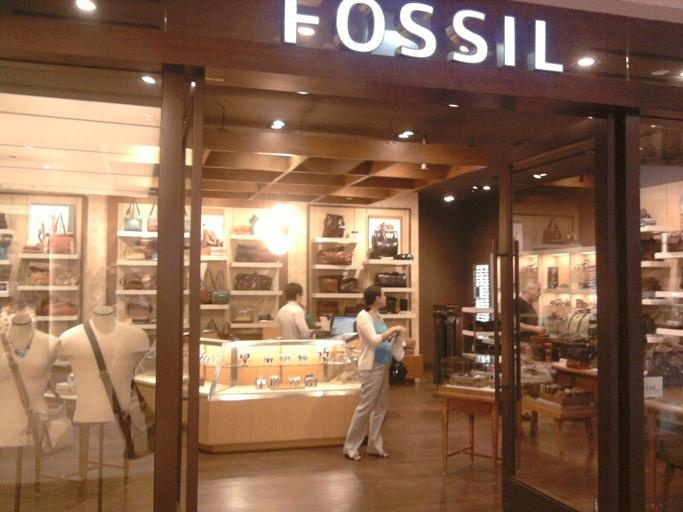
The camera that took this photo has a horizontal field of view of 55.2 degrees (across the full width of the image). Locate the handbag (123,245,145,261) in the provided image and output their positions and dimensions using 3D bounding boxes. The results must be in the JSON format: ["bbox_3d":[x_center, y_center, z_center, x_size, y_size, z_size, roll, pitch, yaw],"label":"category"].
[{"bbox_3d":[-1.100,-0.012,3.495,0.080,0.088,0.028,-3,-5,-6],"label":"handbag"}]

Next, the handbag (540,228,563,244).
[{"bbox_3d":[1.450,-0.135,4.502,0.106,0.107,0.039,2,3,43],"label":"handbag"}]

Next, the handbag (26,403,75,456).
[{"bbox_3d":[-1.534,0.918,3.470,0.252,0.268,0.211,-3,-4,5],"label":"handbag"}]

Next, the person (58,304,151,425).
[{"bbox_3d":[-1.282,0.565,3.491,0.590,0.782,0.264,0,-7,-19],"label":"person"}]

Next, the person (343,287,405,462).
[{"bbox_3d":[0.365,1.212,6.852,0.657,1.770,0.682,0,0,32],"label":"person"}]

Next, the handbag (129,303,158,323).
[{"bbox_3d":[-1.070,0.302,3.517,0.142,0.108,0.098,1,-6,-9],"label":"handbag"}]

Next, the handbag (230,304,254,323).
[{"bbox_3d":[-1.531,0.905,10.249,0.274,0.279,0.239,2,-5,-10],"label":"handbag"}]

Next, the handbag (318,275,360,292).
[{"bbox_3d":[-0.028,0.467,10.773,0.474,0.227,0.324,0,-3,-2],"label":"handbag"}]

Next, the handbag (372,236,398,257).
[{"bbox_3d":[0.743,-0.144,11.078,0.424,0.414,0.288,-2,4,-3],"label":"handbag"}]

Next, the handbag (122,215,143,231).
[{"bbox_3d":[-1.118,-0.177,3.514,0.078,0.072,0.031,1,7,-6],"label":"handbag"}]

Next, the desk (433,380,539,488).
[{"bbox_3d":[1.257,1.642,6.219,0.722,0.742,0.664,1,0,1],"label":"desk"}]

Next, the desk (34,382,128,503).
[{"bbox_3d":[-1.400,1.076,3.825,0.554,0.858,0.529,7,-14,-34],"label":"desk"}]

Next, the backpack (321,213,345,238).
[{"bbox_3d":[-0.116,-0.501,10.926,0.361,0.397,0.185,0,0,-7],"label":"backpack"}]

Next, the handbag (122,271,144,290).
[{"bbox_3d":[-1.111,0.133,3.497,0.091,0.097,0.037,1,2,6],"label":"handbag"}]

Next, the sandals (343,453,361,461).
[{"bbox_3d":[0.121,2.081,6.752,0.064,0.078,0.187,7,-15,-33],"label":"sandals"}]

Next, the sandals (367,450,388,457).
[{"bbox_3d":[0.376,2.057,6.781,0.208,0.088,0.067,-10,-10,40],"label":"sandals"}]

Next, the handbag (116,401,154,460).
[{"bbox_3d":[-1.068,0.959,3.566,0.165,0.231,0.232,-24,-22,-1],"label":"handbag"}]

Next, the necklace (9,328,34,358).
[{"bbox_3d":[-1.688,0.465,3.446,0.143,0.181,0.018,2,-10,-18],"label":"necklace"}]
